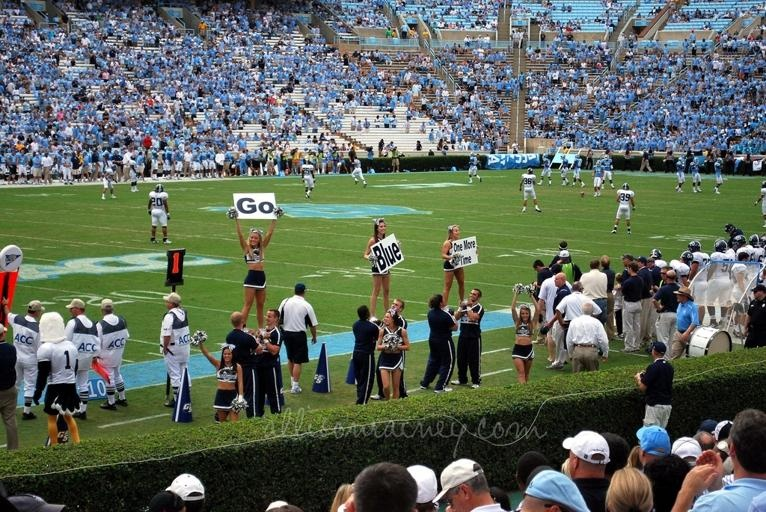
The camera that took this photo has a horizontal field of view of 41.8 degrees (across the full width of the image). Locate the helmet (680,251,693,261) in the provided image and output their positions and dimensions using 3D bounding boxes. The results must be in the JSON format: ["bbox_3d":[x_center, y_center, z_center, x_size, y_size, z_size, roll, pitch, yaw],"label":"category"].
[{"bbox_3d":[7.574,0.018,24.891,0.282,0.259,0.230,7,14,20],"label":"helmet"}]

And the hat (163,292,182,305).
[{"bbox_3d":[-4.144,0.861,19.747,0.254,0.230,0.484,-2,5,-8],"label":"hat"}]

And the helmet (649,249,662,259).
[{"bbox_3d":[7.384,-0.045,27.036,0.193,0.207,0.247,17,29,31],"label":"helmet"}]

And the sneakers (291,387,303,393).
[{"bbox_3d":[-1.740,2.718,20.276,0.088,0.110,0.252,5,6,31],"label":"sneakers"}]

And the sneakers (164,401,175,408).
[{"bbox_3d":[-4.136,2.892,19.436,0.242,0.107,0.092,1,-2,24],"label":"sneakers"}]

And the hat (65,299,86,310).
[{"bbox_3d":[-5.925,0.920,19.317,0.280,0.177,0.526,-4,5,-25],"label":"hat"}]

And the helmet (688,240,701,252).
[{"bbox_3d":[8.430,-0.245,27.002,0.293,0.290,0.233,-21,24,-25],"label":"helmet"}]

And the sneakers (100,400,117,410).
[{"bbox_3d":[-5.297,2.879,19.348,0.340,0.159,0.140,6,7,24],"label":"sneakers"}]

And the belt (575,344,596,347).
[{"bbox_3d":[4.046,1.784,19.841,0.365,0.066,0.058,-1,5,9],"label":"belt"}]

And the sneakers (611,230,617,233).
[{"bbox_3d":[8.664,-0.901,37.344,0.082,0.164,0.169,-1,18,-5],"label":"sneakers"}]

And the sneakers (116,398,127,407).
[{"bbox_3d":[-5.054,2.851,19.414,0.210,0.120,0.181,-3,5,-16],"label":"sneakers"}]

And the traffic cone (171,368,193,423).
[{"bbox_3d":[-3.809,2.617,18.950,0.395,1.010,0.550,-3,5,-13],"label":"traffic cone"}]

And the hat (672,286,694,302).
[{"bbox_3d":[6.317,0.811,20.818,0.338,0.131,0.286,21,-12,-31],"label":"hat"}]

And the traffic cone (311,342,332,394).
[{"bbox_3d":[-1.257,2.247,20.488,0.374,1.011,1.106,-2,5,-4],"label":"traffic cone"}]

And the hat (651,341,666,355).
[{"bbox_3d":[4.893,1.640,17.702,0.229,0.225,0.470,0,5,19],"label":"hat"}]

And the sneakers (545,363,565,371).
[{"bbox_3d":[3.791,2.425,21.795,0.362,0.149,0.126,2,0,17],"label":"sneakers"}]

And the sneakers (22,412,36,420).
[{"bbox_3d":[-6.691,3.044,18.945,0.258,0.115,0.113,0,0,19],"label":"sneakers"}]

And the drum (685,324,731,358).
[{"bbox_3d":[6.856,1.720,20.942,0.878,0.894,0.604,-6,12,-35],"label":"drum"}]
